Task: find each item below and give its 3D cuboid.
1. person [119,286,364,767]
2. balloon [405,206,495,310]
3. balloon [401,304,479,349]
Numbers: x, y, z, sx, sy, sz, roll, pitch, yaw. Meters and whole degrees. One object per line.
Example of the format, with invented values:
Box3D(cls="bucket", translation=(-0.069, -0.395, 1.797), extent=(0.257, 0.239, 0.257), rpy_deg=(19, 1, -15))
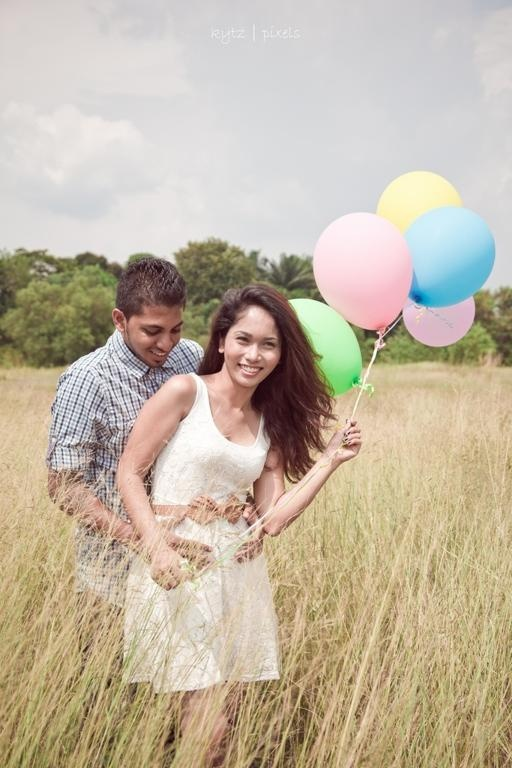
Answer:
Box3D(cls="person", translation=(-0.102, 0.425, 2.247), extent=(0.637, 1.577, 1.110), rpy_deg=(6, 11, 30))
Box3D(cls="balloon", translation=(1.056, -0.715, 3.290), extent=(0.500, 0.547, 0.484), rpy_deg=(2, -4, -24))
Box3D(cls="balloon", translation=(1.121, -0.367, 3.661), extent=(0.388, 0.327, 0.334), rpy_deg=(-12, 10, 23))
